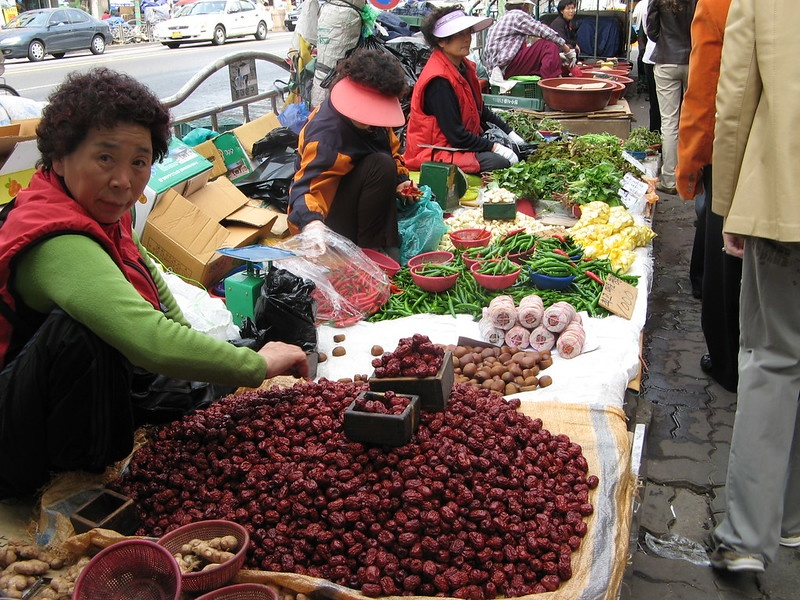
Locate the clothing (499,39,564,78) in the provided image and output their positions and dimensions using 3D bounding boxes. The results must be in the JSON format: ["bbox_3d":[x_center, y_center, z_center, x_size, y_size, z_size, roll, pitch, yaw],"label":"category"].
[{"bbox_3d":[2.157,-3.797,9.075,1.128,0.629,0.586,-6,-5,1],"label":"clothing"}]

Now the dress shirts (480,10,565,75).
[{"bbox_3d":[1.954,-4.132,8.986,1.186,0.960,0.873,-5,39,1],"label":"dress shirts"}]

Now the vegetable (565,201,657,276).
[{"bbox_3d":[1.682,-0.522,4.427,0.598,0.198,0.670,-27,42,-10],"label":"vegetable"}]

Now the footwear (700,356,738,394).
[{"bbox_3d":[2.292,0.533,3.995,0.098,0.194,0.291,-20,40,11],"label":"footwear"}]

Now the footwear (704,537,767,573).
[{"bbox_3d":[1.527,1.156,2.530,0.087,0.105,0.231,-33,10,-40],"label":"footwear"}]

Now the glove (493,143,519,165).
[{"bbox_3d":[1.115,-1.546,5.844,0.334,0.128,0.265,26,26,-6],"label":"glove"}]

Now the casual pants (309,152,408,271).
[{"bbox_3d":[-0.372,-0.845,4.793,0.700,0.940,0.737,7,0,14],"label":"casual pants"}]

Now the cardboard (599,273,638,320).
[{"bbox_3d":[1.471,-0.033,3.695,0.048,0.279,0.303,-12,22,-23],"label":"cardboard"}]

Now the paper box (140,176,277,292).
[{"bbox_3d":[-1.457,-0.473,4.084,0.454,0.497,0.829,33,26,5],"label":"paper box"}]

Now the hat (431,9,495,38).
[{"bbox_3d":[0.661,-2.836,5.688,0.648,0.251,0.357,-25,32,-38],"label":"hat"}]

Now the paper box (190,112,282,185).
[{"bbox_3d":[-1.684,-1.538,5.420,0.855,0.225,0.635,-29,-10,18],"label":"paper box"}]

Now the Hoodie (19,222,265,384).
[{"bbox_3d":[-1.014,0.066,2.111,0.871,0.665,0.245,1,26,9],"label":"Hoodie"}]

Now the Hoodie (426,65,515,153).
[{"bbox_3d":[0.840,-2.022,5.975,0.880,0.974,0.971,1,53,19],"label":"Hoodie"}]
